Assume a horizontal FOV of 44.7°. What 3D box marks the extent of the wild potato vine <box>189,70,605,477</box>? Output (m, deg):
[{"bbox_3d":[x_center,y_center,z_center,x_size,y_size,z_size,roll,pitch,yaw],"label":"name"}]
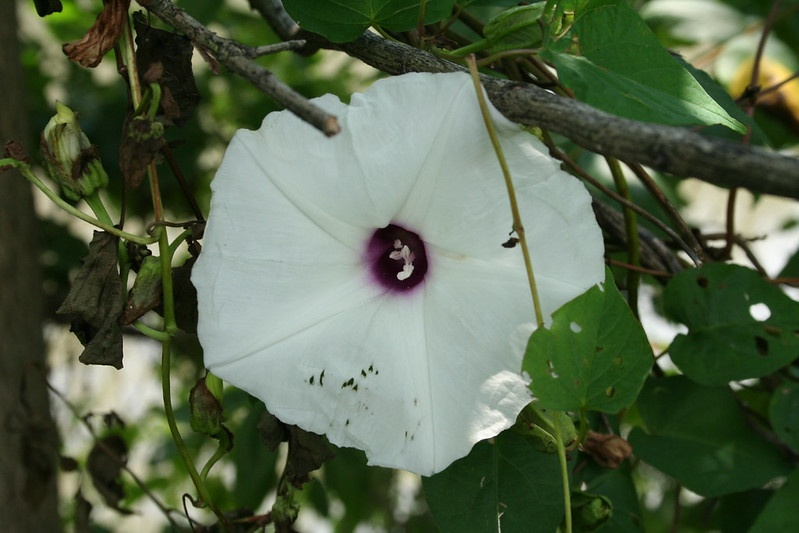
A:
[{"bbox_3d":[0.008,-0.065,1.907,0.583,0.245,0.617,20,23,25],"label":"wild potato vine"}]
